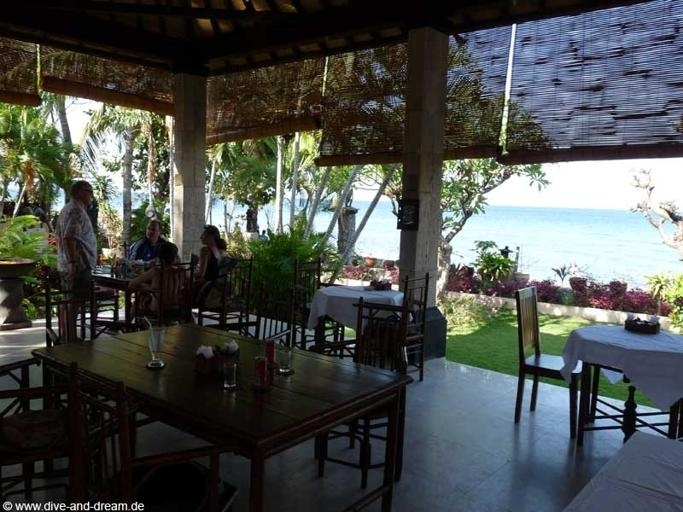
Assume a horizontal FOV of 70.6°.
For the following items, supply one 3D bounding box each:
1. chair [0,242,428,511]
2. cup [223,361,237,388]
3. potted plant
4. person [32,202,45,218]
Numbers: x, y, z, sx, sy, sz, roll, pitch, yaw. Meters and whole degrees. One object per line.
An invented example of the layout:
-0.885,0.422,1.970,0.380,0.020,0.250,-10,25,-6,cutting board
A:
-0.699,0.868,2.840,1.772,0.849,1.162,1,-1,33,chair
-0.597,0.648,2.606,0.071,0.139,0.084,2,0,-14,cup
-1.022,0.110,7.975,1.469,1.583,1.496,1,-1,-10,potted plant
-7.085,-1.053,11.279,0.252,0.380,0.888,2,-1,-33,person
